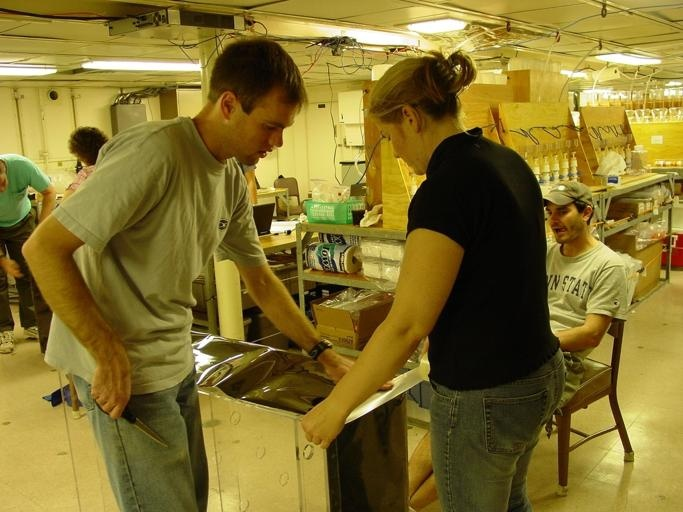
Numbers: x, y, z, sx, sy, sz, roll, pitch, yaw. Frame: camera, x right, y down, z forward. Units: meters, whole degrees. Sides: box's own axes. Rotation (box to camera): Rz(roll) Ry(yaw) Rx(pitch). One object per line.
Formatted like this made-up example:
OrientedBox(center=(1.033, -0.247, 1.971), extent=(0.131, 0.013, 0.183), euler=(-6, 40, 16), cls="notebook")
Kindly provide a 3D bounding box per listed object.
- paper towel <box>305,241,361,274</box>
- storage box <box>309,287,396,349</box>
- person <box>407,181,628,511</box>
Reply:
OrientedBox(center=(-0.065, -0.113, 3.753), extent=(0.453, 0.244, 0.267), euler=(5, 10, 30), cls="paper towel")
OrientedBox(center=(0.115, 0.336, 3.825), extent=(0.557, 0.359, 0.515), euler=(13, 18, 42), cls="storage box")
OrientedBox(center=(0.939, 0.541, 2.998), extent=(0.926, 1.859, 0.772), euler=(-6, 8, -39), cls="person")
